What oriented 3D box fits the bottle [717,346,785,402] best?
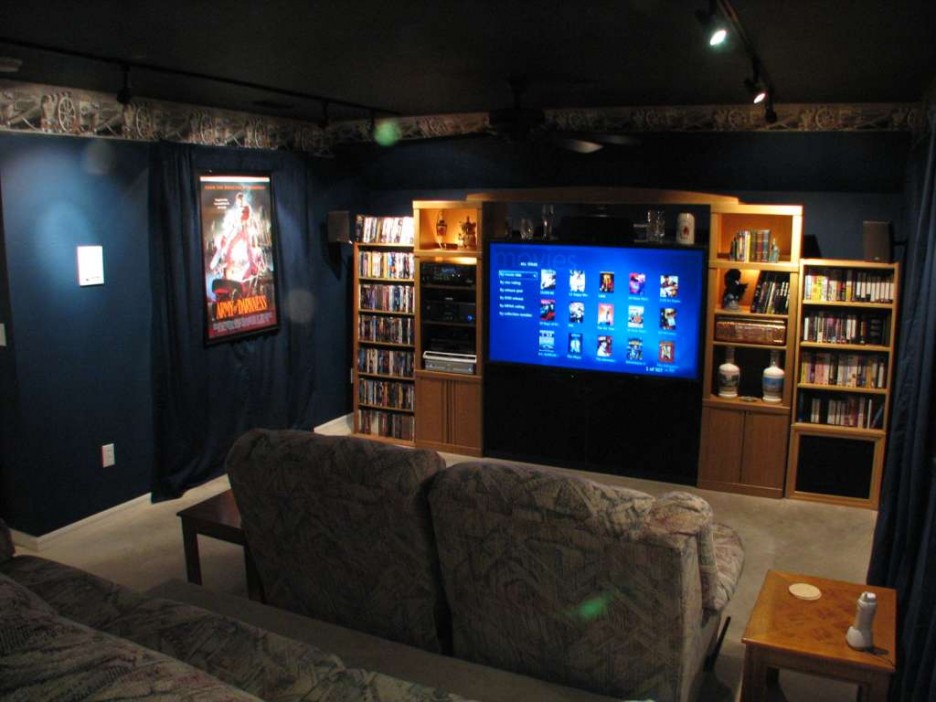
[{"bbox_3d":[2.367,0.195,5.735,0.403,0.396,0.158,3,9,31],"label":"bottle"}]

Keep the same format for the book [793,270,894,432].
[{"bbox_3d":[2.965,-0.030,5.417,0.665,1.293,0.250,4,8,25],"label":"book"}]

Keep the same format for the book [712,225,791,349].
[{"bbox_3d":[2.350,-0.571,5.648,0.654,1.089,0.514,4,8,25],"label":"book"}]

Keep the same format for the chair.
[{"bbox_3d":[0.002,0.912,3.068,2.071,1.026,0.453,4,8,19],"label":"chair"}]

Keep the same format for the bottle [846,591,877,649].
[{"bbox_3d":[1.732,1.161,3.030,0.102,0.241,0.212,5,9,31],"label":"bottle"}]

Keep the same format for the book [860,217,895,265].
[{"bbox_3d":[3.123,-0.835,5.248,0.208,0.314,0.193,5,9,30],"label":"book"}]
